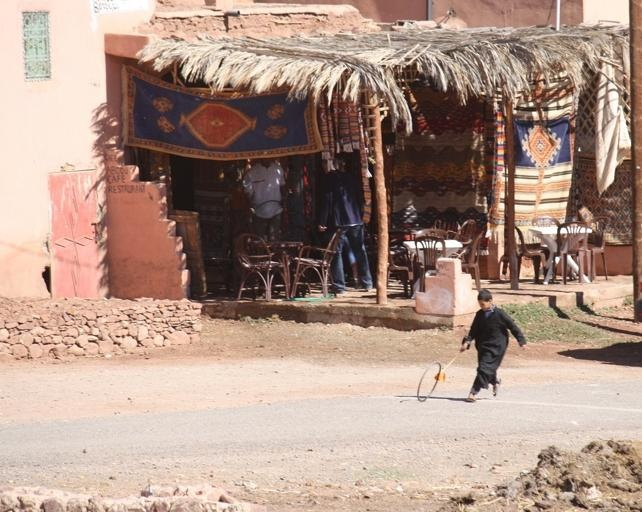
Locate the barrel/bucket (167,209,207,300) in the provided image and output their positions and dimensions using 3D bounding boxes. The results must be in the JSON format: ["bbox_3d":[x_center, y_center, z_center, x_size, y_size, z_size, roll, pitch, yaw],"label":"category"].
[{"bbox_3d":[-2.014,-0.093,17.820,0.746,1.255,0.357,1,21,24],"label":"barrel/bucket"}]

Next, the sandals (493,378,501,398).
[{"bbox_3d":[2.012,1.480,12.948,0.119,0.250,0.089,1,10,-2],"label":"sandals"}]

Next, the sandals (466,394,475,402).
[{"bbox_3d":[1.678,1.586,12.729,0.136,0.078,0.133,1,0,30],"label":"sandals"}]

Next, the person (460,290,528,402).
[{"bbox_3d":[1.910,1.011,12.988,0.752,1.042,0.628,1,0,-32],"label":"person"}]
